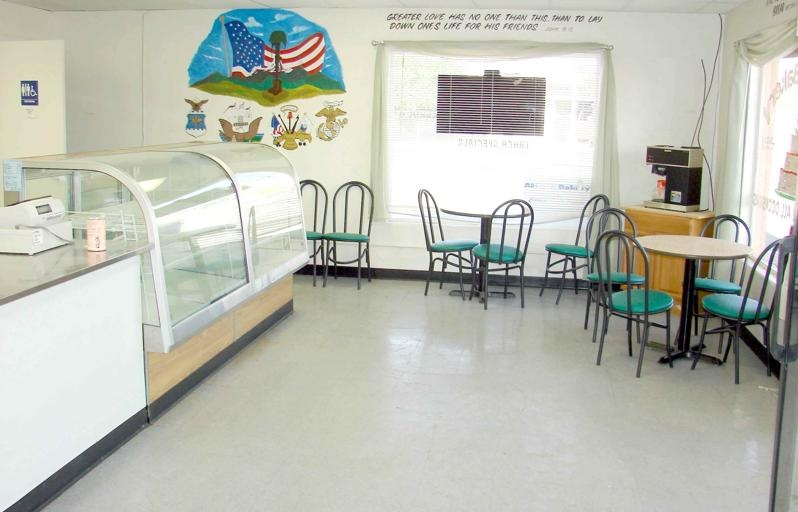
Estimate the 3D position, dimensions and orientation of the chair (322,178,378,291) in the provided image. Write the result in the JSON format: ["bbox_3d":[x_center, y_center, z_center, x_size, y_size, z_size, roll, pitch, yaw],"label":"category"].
[{"bbox_3d":[-0.604,-0.273,6.529,0.616,1.171,0.640,0,15,-3],"label":"chair"}]

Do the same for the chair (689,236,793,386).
[{"bbox_3d":[2.963,0.304,4.754,0.542,1.112,1.478,10,17,32],"label":"chair"}]

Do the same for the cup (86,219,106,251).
[{"bbox_3d":[-1.817,-0.139,3.343,0.100,0.187,0.204,-6,16,-22],"label":"cup"}]

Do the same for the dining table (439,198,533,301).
[{"bbox_3d":[1.000,-0.099,6.210,1.056,1.065,0.740,-4,15,-16],"label":"dining table"}]

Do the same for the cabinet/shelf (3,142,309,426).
[{"bbox_3d":[-1.580,0.202,3.617,1.009,1.288,1.954,3,11,11],"label":"cabinet/shelf"}]
